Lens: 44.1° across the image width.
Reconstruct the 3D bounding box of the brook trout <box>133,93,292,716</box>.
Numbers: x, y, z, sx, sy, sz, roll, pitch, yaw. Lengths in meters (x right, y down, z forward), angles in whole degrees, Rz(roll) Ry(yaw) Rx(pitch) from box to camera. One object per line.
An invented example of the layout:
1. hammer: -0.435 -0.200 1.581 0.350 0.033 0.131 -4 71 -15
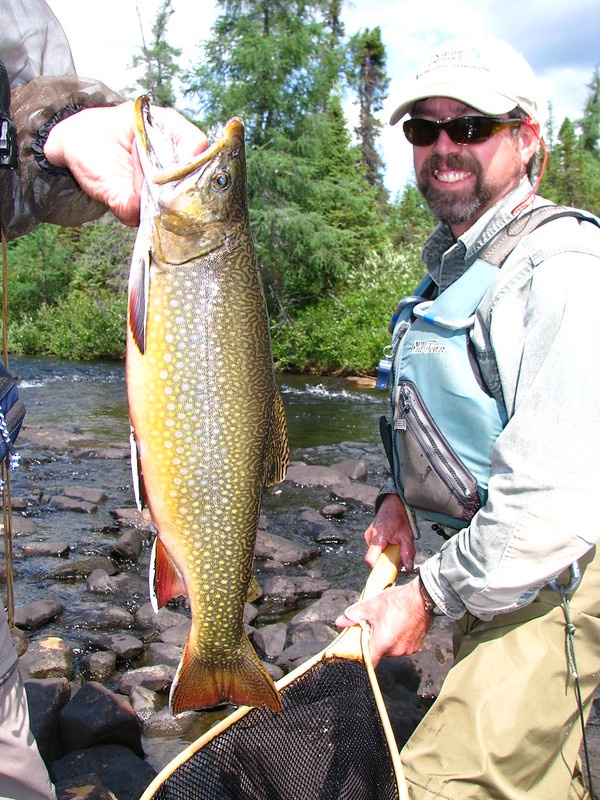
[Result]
1. brook trout: -0.262 0.062 2.196 0.504 1.793 0.652 1 19 -13
